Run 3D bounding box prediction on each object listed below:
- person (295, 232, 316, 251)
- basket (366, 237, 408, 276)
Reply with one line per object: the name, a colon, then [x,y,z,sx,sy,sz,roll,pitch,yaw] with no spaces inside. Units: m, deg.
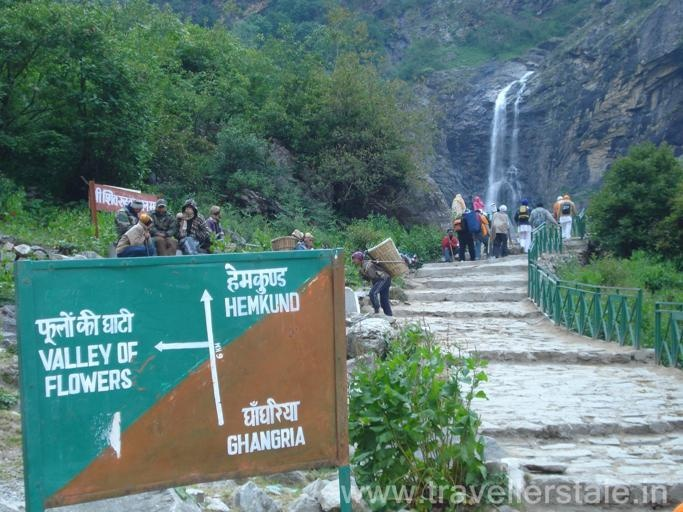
person: [-1.304,-0.440,34.989,0.636,0.702,0.849,1,0,42]
basket: [1.570,0.094,35.170,1.261,1.350,0.465,-2,3,1]
